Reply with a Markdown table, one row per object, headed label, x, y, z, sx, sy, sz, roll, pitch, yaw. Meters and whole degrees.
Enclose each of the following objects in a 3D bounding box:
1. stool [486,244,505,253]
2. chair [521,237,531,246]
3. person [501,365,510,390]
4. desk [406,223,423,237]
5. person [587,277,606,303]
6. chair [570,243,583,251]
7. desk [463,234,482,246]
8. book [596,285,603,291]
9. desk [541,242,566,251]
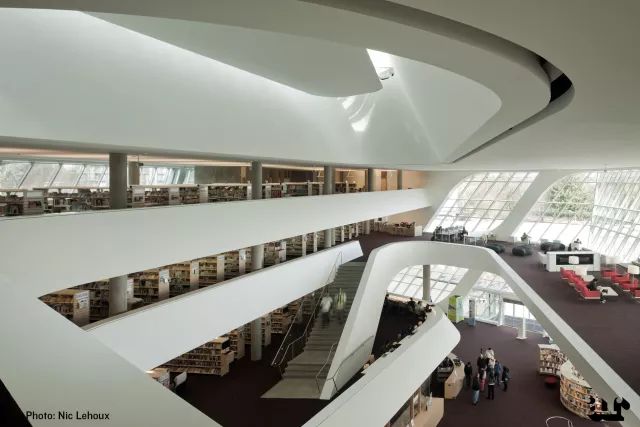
| label | x | y | z | sx | sy | sz | roll | pitch | yaw |
| --- | --- | --- | --- | --- | --- | --- | --- | --- | --- |
| stool | 10.031 | 1.965 | 23.012 | 0.647 | 0.256 | 0.685 | 0 | -1 | 42 |
| chair | 12.996 | 1.741 | 25.342 | 0.692 | 0.662 | 0.511 | 3 | -1 | 28 |
| person | 7.406 | 6.484 | 16.060 | 0.324 | 0.658 | 0.709 | 11 | 7 | 28 |
| desk | 6.598 | 1.168 | 27.783 | 0.595 | 0.710 | 1.399 | 11 | 7 | 33 |
| person | 10.246 | 2.811 | 14.912 | 0.652 | 0.674 | 1.182 | 11 | 7 | 34 |
| chair | 13.629 | 1.763 | 21.405 | 0.427 | 0.548 | 0.577 | 0 | 1 | -38 |
| desk | 9.423 | 1.533 | 24.690 | 1.005 | 0.338 | 3.212 | 9 | 6 | 22 |
| book | 10.606 | 2.826 | 15.251 | 0.306 | 0.148 | 0.421 | -4 | -3 | 39 |
| desk | 13.057 | 1.890 | 22.697 | 0.790 | 0.281 | 0.800 | -4 | 14 | 46 |
